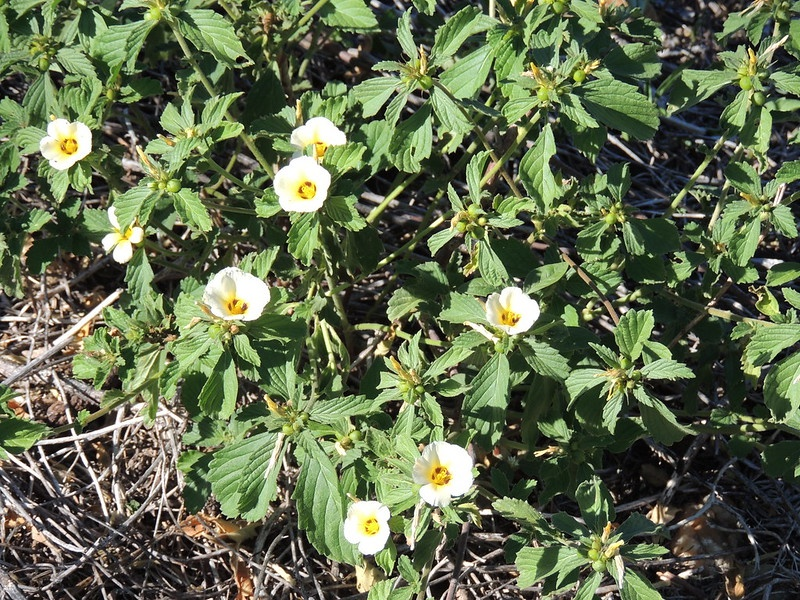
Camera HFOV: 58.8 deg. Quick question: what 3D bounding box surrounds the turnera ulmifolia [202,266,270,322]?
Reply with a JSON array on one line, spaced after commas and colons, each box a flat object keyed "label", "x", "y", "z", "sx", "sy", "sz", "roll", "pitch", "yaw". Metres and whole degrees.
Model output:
[{"label": "turnera ulmifolia", "x": -0.631, "y": -0.005, "z": 2.763, "sx": 0.239, "sy": 0.148, "sz": 0.198, "roll": 14, "pitch": 54, "yaw": -4}]

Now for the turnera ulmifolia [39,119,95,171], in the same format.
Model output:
[{"label": "turnera ulmifolia", "x": -1.446, "y": -0.661, "z": 3.061, "sx": 0.237, "sy": 0.186, "sz": 0.203, "roll": 5, "pitch": 55, "yaw": -10}]

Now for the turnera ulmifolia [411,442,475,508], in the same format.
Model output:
[{"label": "turnera ulmifolia", "x": 0.159, "y": 0.645, "z": 2.678, "sx": 0.221, "sy": 0.096, "sz": 0.213, "roll": -25, "pitch": 66, "yaw": -27}]
